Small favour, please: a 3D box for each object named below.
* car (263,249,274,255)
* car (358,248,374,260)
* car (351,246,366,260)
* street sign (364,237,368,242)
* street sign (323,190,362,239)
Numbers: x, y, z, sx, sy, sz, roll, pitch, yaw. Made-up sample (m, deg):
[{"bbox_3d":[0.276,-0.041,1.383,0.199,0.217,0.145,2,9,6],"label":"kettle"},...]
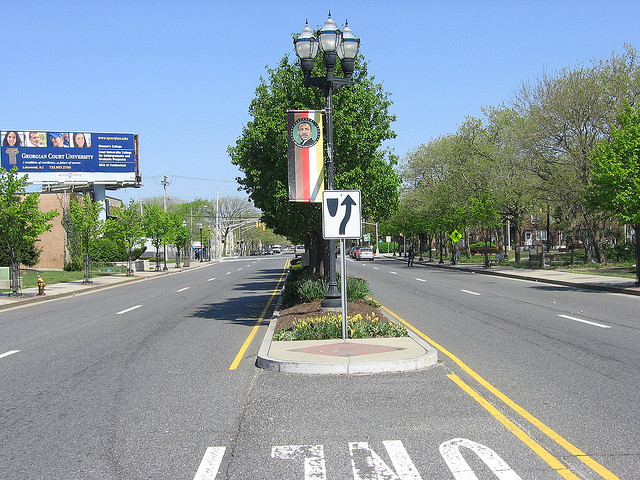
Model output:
[{"bbox_3d":[-11.591,3.227,126.670,1.536,1.359,3.667,1,5,12],"label":"car"},{"bbox_3d":[5.443,1.694,68.267,1.379,1.270,2.900,-3,1,-16],"label":"car"},{"bbox_3d":[4.856,1.760,71.887,1.200,1.368,2.448,0,7,2],"label":"car"},{"bbox_3d":[10.150,-0.278,126.994,1.111,1.270,0.624,-3,-1,6],"label":"street sign"},{"bbox_3d":[0.460,-0.527,12.157,0.859,1.188,0.132,-1,2,3],"label":"street sign"}]
